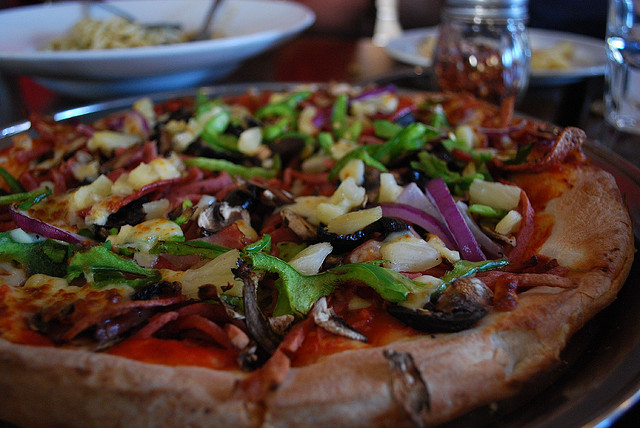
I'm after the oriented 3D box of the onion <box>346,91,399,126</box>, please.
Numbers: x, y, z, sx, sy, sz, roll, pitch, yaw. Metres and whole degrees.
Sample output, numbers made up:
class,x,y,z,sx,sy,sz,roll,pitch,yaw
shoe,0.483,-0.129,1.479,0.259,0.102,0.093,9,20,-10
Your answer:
class,x,y,z,sx,sy,sz,roll,pitch,yaw
onion,0.193,-0.382,2.006,0.190,0.051,0.110,-34,31,-9

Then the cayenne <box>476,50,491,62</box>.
class,x,y,z,sx,sy,sz,roll,pitch,yaw
cayenne,0.549,-0.527,1.870,0.036,0.035,0.008,20,33,9

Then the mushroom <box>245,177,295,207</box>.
class,x,y,z,sx,sy,sz,roll,pitch,yaw
mushroom,-0.145,-0.052,1.627,0.114,0.050,0.078,12,55,-14

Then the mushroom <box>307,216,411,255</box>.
class,x,y,z,sx,sy,sz,roll,pitch,yaw
mushroom,0.102,0.051,1.397,0.173,0.108,0.060,-8,86,-1

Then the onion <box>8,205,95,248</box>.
class,x,y,z,sx,sy,sz,roll,pitch,yaw
onion,-0.674,0.035,1.414,0.161,0.120,0.047,15,82,-6

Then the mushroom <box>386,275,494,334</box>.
class,x,y,z,sx,sy,sz,roll,pitch,yaw
mushroom,0.280,0.204,1.207,0.157,0.051,0.123,-20,31,-13

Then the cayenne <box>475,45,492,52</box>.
class,x,y,z,sx,sy,sz,roll,pitch,yaw
cayenne,0.546,-0.551,1.868,0.028,0.027,0.008,18,67,7

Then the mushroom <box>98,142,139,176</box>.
class,x,y,z,sx,sy,sz,roll,pitch,yaw
mushroom,-0.620,-0.168,1.753,0.115,0.024,0.069,-35,17,-17

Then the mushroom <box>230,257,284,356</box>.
class,x,y,z,sx,sy,sz,roll,pitch,yaw
mushroom,-0.163,0.196,1.274,0.066,0.041,0.243,-17,64,-32

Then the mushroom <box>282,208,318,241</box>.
class,x,y,z,sx,sy,sz,roll,pitch,yaw
mushroom,-0.048,0.026,1.466,0.088,0.038,0.069,35,15,10

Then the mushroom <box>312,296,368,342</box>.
class,x,y,z,sx,sy,sz,roll,pitch,yaw
mushroom,0.018,0.245,1.260,0.115,0.088,0.057,-10,64,26
